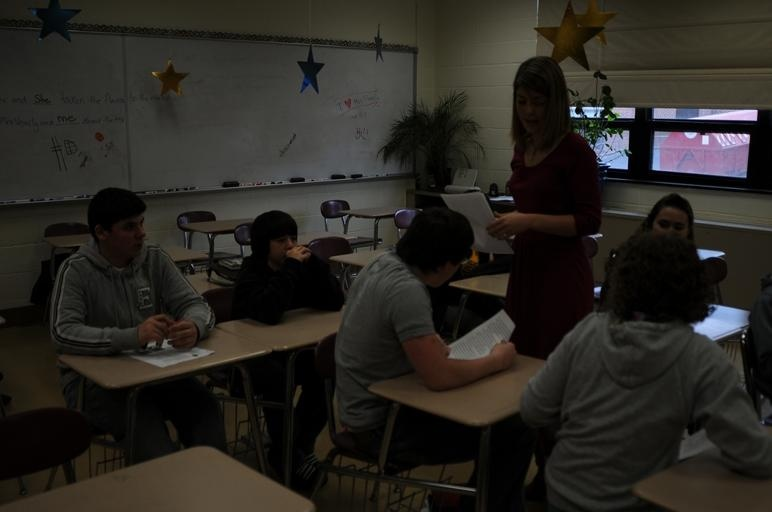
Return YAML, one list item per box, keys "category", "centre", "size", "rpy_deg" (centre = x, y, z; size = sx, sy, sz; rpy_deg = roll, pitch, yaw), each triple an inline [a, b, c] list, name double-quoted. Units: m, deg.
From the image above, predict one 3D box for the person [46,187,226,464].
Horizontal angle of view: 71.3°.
- category: "person"
  centre: [-1.112, 0.319, 2.433]
  size: [0.673, 1.235, 0.696]
  rpy_deg: [-7, 11, -34]

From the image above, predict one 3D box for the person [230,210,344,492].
- category: "person"
  centre: [-0.548, 0.470, 2.821]
  size: [0.607, 1.391, 0.543]
  rpy_deg: [0, 9, 6]

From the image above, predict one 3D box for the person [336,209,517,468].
- category: "person"
  centre: [0.142, 0.303, 2.077]
  size: [0.678, 0.968, 0.294]
  rpy_deg: [-2, 9, -6]

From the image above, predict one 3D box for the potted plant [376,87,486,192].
- category: "potted plant"
  centre: [0.673, -1.681, 7.866]
  size: [1.313, 1.462, 1.439]
  rpy_deg: [-8, 14, -40]
